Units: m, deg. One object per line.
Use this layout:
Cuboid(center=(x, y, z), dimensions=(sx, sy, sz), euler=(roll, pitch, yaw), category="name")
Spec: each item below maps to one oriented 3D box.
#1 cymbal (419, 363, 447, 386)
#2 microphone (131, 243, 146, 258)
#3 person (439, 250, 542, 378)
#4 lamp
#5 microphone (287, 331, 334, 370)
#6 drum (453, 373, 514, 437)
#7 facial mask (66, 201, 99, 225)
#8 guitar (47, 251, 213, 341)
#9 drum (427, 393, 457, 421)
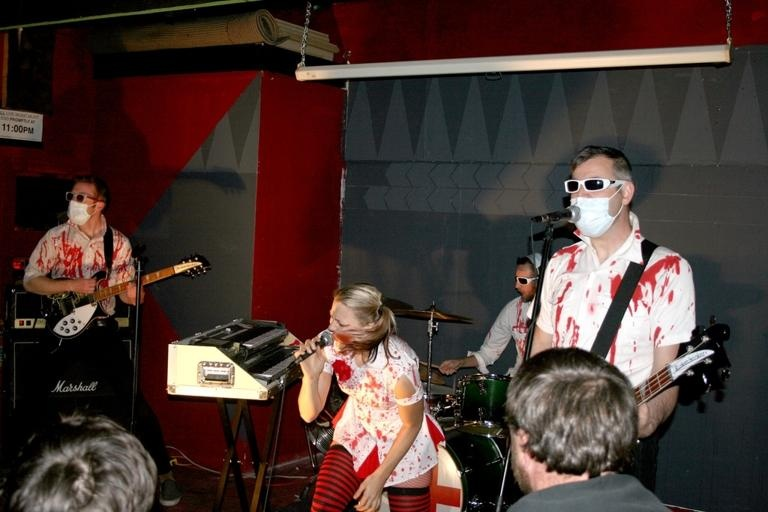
Cuboid(center=(0.418, 1.010, 5.484), dimensions=(0.266, 0.065, 0.274), euler=(17, -7, 32), category="cymbal")
Cuboid(center=(-1.931, -0.041, 5.006), dimensions=(0.091, 0.078, 0.217), euler=(-25, 2, -29), category="microphone")
Cuboid(center=(0.980, 0.471, 5.731), dimensions=(0.761, 1.126, 0.670), euler=(12, 18, 17), category="person")
Cuboid(center=(0.790, -1.237, 4.109), dimensions=(2.621, 0.188, 0.205), euler=(0, -3, 17), category="lamp")
Cuboid(center=(-0.472, 0.560, 3.875), dimensions=(0.203, 0.238, 0.422), euler=(2, -3, -30), category="microphone")
Cuboid(center=(0.747, 1.111, 4.932), dimensions=(0.501, 0.475, 0.518), euler=(0, -12, 16), category="drum")
Cuboid(center=(-2.473, -0.342, 5.235), dimensions=(0.158, 0.172, 0.189), euler=(4, 4, 14), category="facial mask")
Cuboid(center=(-2.162, 0.345, 5.241), dimensions=(1.099, 0.677, 0.225), euler=(1, -2, -5), category="guitar")
Cuboid(center=(0.470, 1.235, 5.162), dimensions=(0.266, 0.266, 0.164), euler=(-1, -3, 5), category="drum")
